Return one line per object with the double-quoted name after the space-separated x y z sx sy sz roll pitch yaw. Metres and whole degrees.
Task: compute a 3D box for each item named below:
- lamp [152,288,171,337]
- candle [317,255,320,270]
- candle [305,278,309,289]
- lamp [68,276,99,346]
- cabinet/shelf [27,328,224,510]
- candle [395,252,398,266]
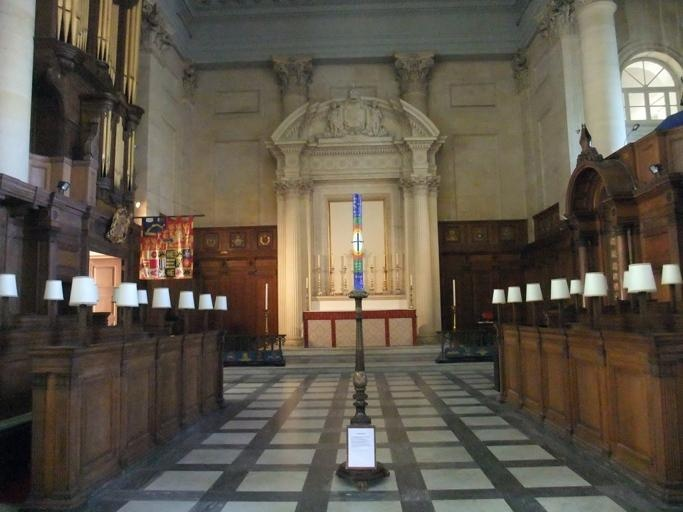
-2.514 0.747 8.263 0.263 0.591 0.249 0 1 -9 "lamp"
-0.656 0.183 17.086 0.098 0.361 0.263 -1 0 -2 "candle"
-0.976 0.760 16.810 0.097 0.314 0.323 -1 0 -6 "candle"
-2.896 0.624 6.641 0.324 0.776 0.312 6 -9 -5 "lamp"
-2.428 1.693 7.209 0.442 1.774 2.969 -1 0 19 "cabinet/shelf"
1.590 0.099 17.136 0.122 0.383 0.187 -1 0 4 "candle"
